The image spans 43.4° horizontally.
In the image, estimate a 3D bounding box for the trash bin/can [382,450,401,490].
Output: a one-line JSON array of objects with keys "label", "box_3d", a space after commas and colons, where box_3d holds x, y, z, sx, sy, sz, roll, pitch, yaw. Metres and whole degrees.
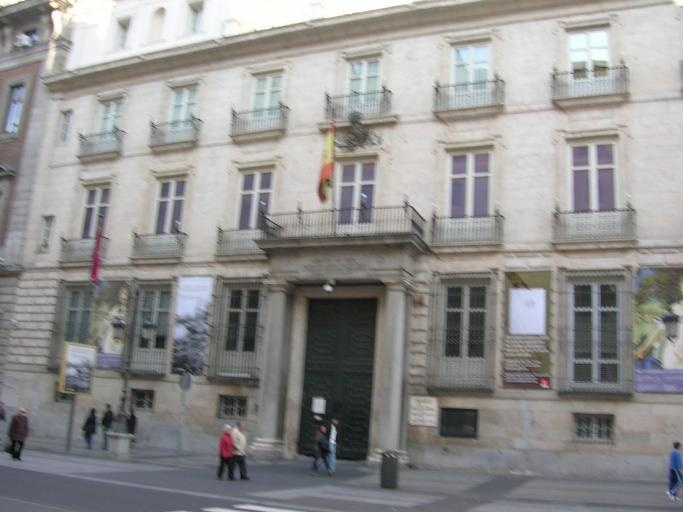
[{"label": "trash bin/can", "box_3d": [1.655, 7.404, 29.519, 0.617, 1.253, 0.754, 3, -17, 1]}]

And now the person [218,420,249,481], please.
[{"label": "person", "box_3d": [-3.732, 6.870, 30.149, 1.103, 1.975, 1.357, 5, -17, -6]}]
